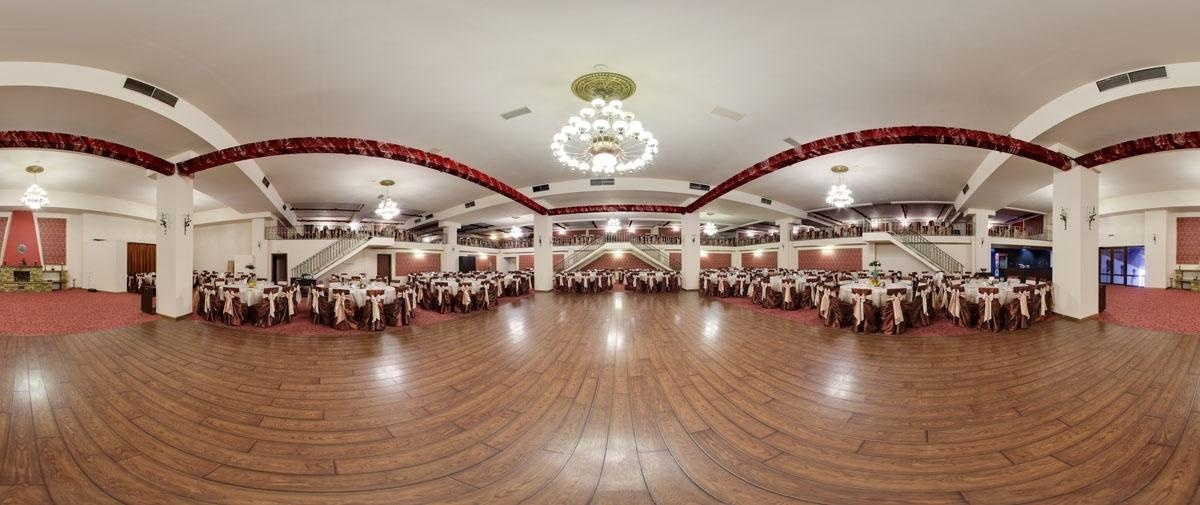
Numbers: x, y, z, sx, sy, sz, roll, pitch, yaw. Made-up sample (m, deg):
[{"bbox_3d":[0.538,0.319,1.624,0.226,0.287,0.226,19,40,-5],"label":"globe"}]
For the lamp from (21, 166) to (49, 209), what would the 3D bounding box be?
[{"bbox_3d":[-24.646,-2.756,23.336,3.648,1.859,0.653,-4,-5,43],"label":"lamp"}]

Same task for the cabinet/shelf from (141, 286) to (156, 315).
[{"bbox_3d":[-17.322,1.891,20.533,0.380,1.085,0.569,3,-5,-41],"label":"cabinet/shelf"}]

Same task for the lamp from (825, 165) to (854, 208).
[{"bbox_3d":[10.647,-2.877,23.755,0.831,1.676,1.754,-3,-4,25],"label":"lamp"}]
